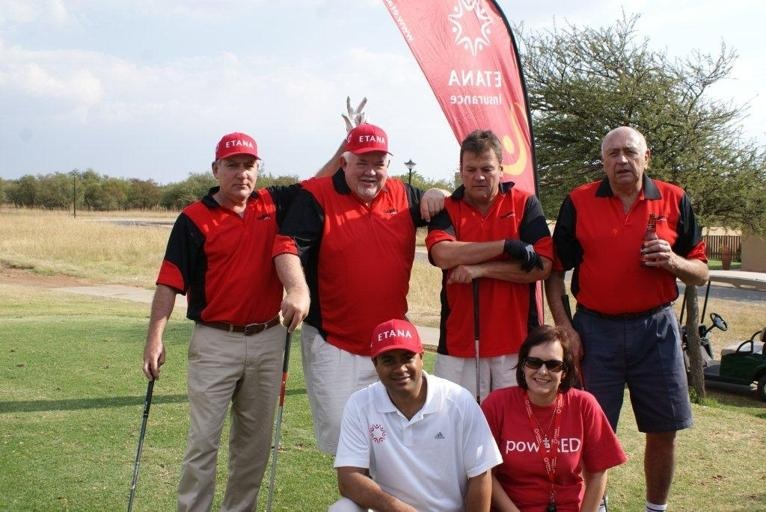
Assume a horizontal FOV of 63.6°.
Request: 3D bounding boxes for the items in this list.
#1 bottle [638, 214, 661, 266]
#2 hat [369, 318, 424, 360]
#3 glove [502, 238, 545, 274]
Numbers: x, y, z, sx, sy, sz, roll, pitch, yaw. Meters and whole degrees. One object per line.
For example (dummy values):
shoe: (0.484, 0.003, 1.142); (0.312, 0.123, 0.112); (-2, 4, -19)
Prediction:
bottle: (2.378, -0.138, 5.555); (0.121, 0.460, 0.313); (7, 11, 24)
hat: (0.101, 0.660, 4.899); (0.374, 0.302, 0.259); (2, 10, -6)
glove: (1.268, 0.007, 5.628); (0.109, 0.259, 0.329); (-4, -28, 45)
